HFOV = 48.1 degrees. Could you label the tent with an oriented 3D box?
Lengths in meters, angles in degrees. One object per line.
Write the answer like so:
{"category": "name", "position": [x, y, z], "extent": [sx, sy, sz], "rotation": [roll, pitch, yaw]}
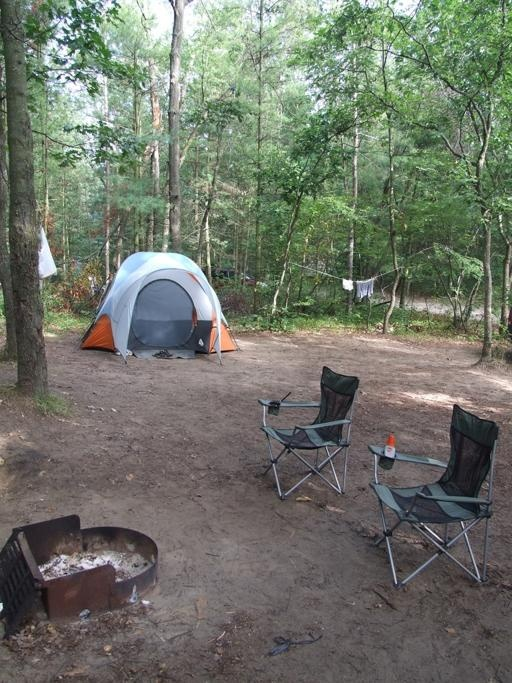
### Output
{"category": "tent", "position": [-1.876, -0.550, 10.656], "extent": [2.172, 1.293, 2.192], "rotation": [0, 1, -23]}

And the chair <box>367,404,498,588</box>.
{"category": "chair", "position": [1.114, 0.980, 3.790], "extent": [0.681, 0.973, 0.860], "rotation": [-1, 7, -10]}

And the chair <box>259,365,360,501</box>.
{"category": "chair", "position": [0.387, 0.767, 4.924], "extent": [0.772, 0.986, 0.926], "rotation": [-6, 12, -37]}
